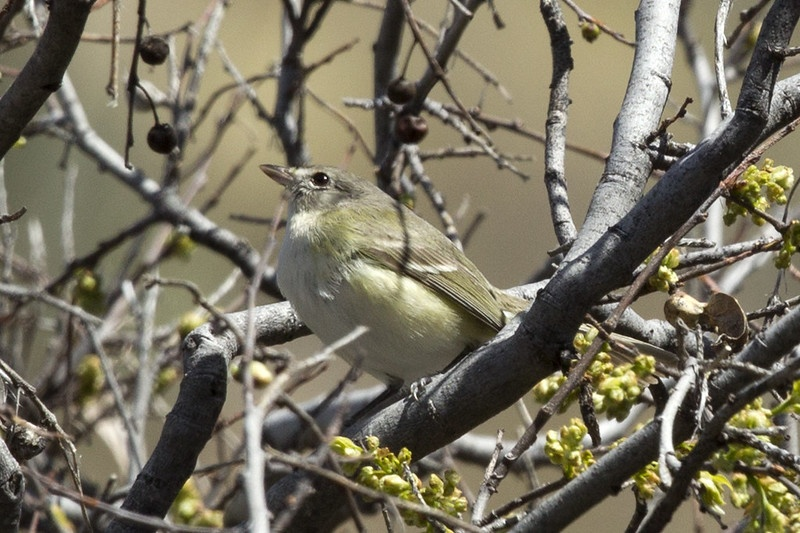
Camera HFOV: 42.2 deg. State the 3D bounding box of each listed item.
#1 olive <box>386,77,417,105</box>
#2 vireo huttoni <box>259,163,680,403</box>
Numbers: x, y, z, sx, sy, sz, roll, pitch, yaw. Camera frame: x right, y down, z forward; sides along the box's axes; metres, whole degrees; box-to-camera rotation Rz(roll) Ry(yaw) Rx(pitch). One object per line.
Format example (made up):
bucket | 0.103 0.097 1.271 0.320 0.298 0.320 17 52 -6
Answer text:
olive | 0.005 -1.038 6.247 0.138 0.157 0.108 -11 -51 -19
vireo huttoni | 0.376 0.095 6.899 2.600 1.443 0.913 2 -21 -18
